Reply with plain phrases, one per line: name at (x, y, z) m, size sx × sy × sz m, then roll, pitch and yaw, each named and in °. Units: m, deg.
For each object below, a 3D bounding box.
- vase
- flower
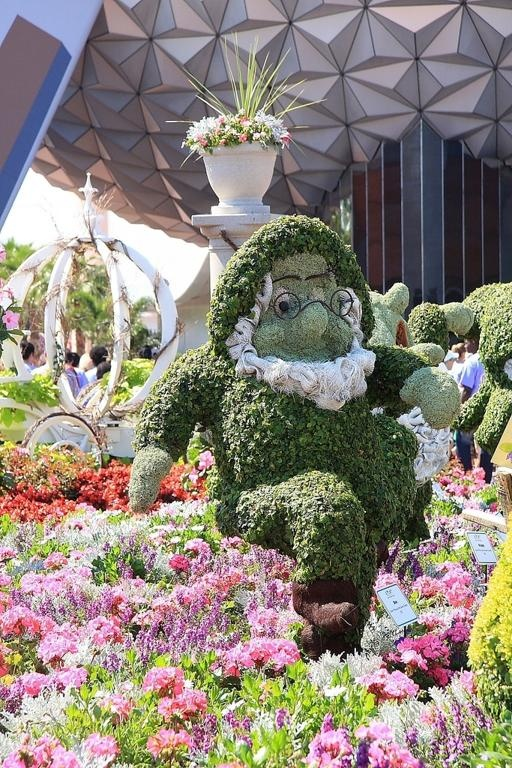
vase at (-0.109, -1.403, 5.159) m, size 0.598 × 0.394 × 0.575 m, roll -9°, pitch 13°, yaw -38°
flower at (-0.084, -1.780, 4.987) m, size 0.675 × 0.765 × 0.920 m, roll 1°, pitch 24°, yaw 8°
